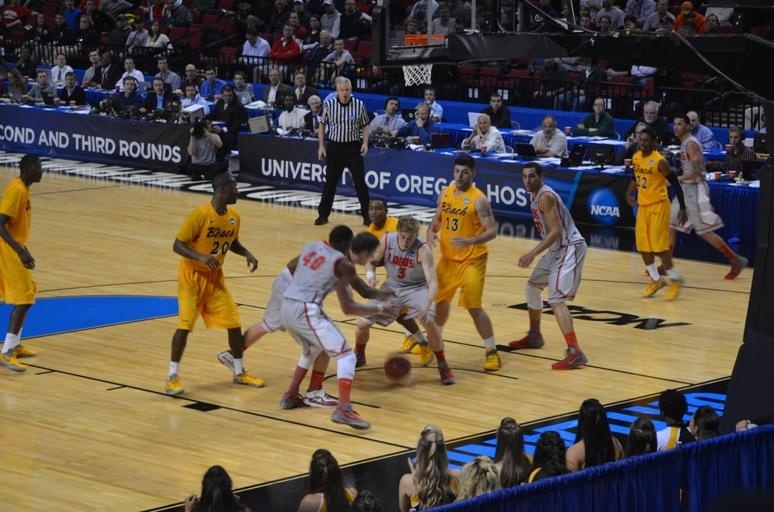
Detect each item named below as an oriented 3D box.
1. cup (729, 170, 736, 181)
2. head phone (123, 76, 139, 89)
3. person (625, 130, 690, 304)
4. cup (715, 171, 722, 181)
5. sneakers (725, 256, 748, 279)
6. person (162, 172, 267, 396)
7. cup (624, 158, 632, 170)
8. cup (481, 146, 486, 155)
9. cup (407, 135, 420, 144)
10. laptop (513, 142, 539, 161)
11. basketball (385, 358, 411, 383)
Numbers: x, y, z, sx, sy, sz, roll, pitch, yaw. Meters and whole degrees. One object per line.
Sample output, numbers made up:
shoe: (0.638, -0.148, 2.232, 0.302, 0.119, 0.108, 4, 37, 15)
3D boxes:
cup: (5.986, -1.390, 13.900, 0.172, 0.163, 0.151, 0, 15, 7)
head phone: (-6.579, -4.415, 20.602, 0.231, 0.273, 0.325, -2, 15, -7)
person: (3.836, -0.511, 11.460, 0.812, 2.099, 0.732, 4, 9, 11)
cup: (5.757, -1.377, 13.985, 0.130, 0.137, 0.128, -1, 10, 0)
sneakers: (5.234, 0.164, 12.094, 0.254, 0.352, 0.253, 3, 9, 5)
person: (-1.815, 0.249, 8.409, 0.942, 2.229, 0.971, 0, 9, -14)
cup: (4.414, -1.678, 14.736, 0.207, 0.209, 0.209, 0, 12, 0)
cup: (1.935, -2.105, 15.979, 0.129, 0.121, 0.129, -3, 17, 1)
cup: (0.562, -2.432, 16.837, 0.189, 0.090, 0.264, -4, 9, -20)
laptop: (2.684, -2.027, 15.640, 0.385, 0.347, 0.273, 6, 6, 24)
basketball: (0.116, 1.204, 8.572, 0.274, 0.280, 0.274, -1, 3, -2)
